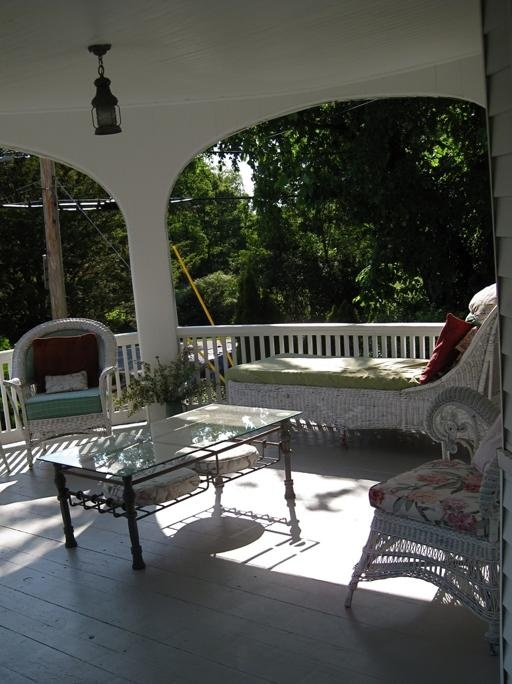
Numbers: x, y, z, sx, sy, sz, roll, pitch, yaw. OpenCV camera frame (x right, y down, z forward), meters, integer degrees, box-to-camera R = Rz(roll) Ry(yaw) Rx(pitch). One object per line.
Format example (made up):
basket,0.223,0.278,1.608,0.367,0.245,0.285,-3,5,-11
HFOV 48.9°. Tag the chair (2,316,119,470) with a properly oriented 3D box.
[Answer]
chair,-1.704,0.351,4.954,1.061,1.203,1.060,-4,4,-9

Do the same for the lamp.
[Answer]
lamp,-0.889,-1.456,3.268,0.180,0.463,0.167,-1,27,0

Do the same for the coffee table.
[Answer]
coffee table,-0.428,0.749,3.148,0.925,0.539,1.318,-3,4,38

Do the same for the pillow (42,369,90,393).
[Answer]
pillow,-1.612,0.341,4.774,0.342,0.144,0.235,-7,3,-18

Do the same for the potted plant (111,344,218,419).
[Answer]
potted plant,-0.906,0.358,5.308,0.981,0.885,0.699,1,8,2

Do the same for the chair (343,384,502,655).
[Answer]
chair,0.629,0.616,2.001,0.615,0.768,1.048,-6,3,12

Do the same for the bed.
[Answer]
bed,0.735,0.221,4.225,2.029,1.124,1.083,4,6,25
